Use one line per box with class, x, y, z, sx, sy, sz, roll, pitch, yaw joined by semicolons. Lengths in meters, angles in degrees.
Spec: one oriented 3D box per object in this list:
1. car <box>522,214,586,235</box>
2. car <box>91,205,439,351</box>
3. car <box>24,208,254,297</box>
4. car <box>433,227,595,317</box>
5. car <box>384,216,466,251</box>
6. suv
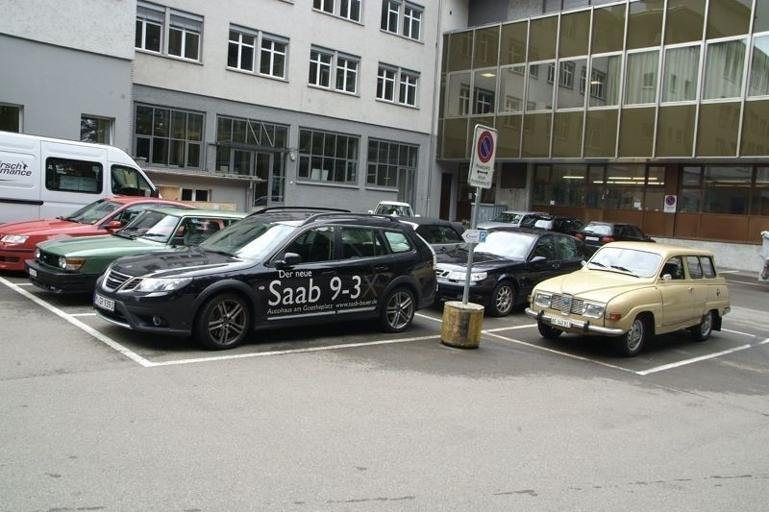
car;6.912;-1.261;23.006;2.788;0.973;1.265;-7;14;-36
car;-1.858;0.366;10.385;5.714;2.054;2.595;1;5;-31
car;-4.844;-0.191;11.587;3.804;1.176;2.045;-2;7;-35
car;3.124;0.255;13.651;4.051;1.329;1.780;-3;5;-39
car;1.466;-0.626;15.377;1.644;0.817;0.944;8;0;-32
suv;4.938;0.724;11.313;3.696;1.544;2.073;0;1;-34
